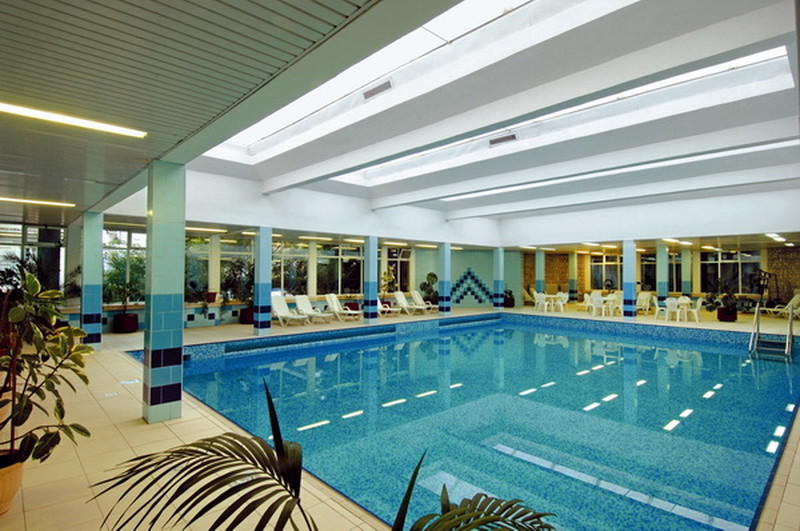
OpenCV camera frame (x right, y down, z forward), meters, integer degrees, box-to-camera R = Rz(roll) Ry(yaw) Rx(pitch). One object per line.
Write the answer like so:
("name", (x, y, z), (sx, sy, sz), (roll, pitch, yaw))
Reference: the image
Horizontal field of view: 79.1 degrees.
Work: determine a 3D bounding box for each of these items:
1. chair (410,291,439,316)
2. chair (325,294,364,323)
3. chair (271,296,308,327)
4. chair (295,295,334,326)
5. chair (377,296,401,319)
("chair", (0.751, 1.349, 17.165), (0.596, 0.514, 1.086), (1, 3, -44))
("chair", (-1.786, 1.299, 14.900), (1.135, 0.697, 0.673), (3, 2, 37))
("chair", (-3.155, 1.216, 13.240), (0.645, 0.537, 1.126), (0, 7, -43))
("chair", (-2.469, 1.278, 13.717), (1.156, 0.585, 0.611), (10, 8, 44))
("chair", (-0.487, 1.424, 15.968), (0.504, 0.495, 0.781), (2, -1, -37))
